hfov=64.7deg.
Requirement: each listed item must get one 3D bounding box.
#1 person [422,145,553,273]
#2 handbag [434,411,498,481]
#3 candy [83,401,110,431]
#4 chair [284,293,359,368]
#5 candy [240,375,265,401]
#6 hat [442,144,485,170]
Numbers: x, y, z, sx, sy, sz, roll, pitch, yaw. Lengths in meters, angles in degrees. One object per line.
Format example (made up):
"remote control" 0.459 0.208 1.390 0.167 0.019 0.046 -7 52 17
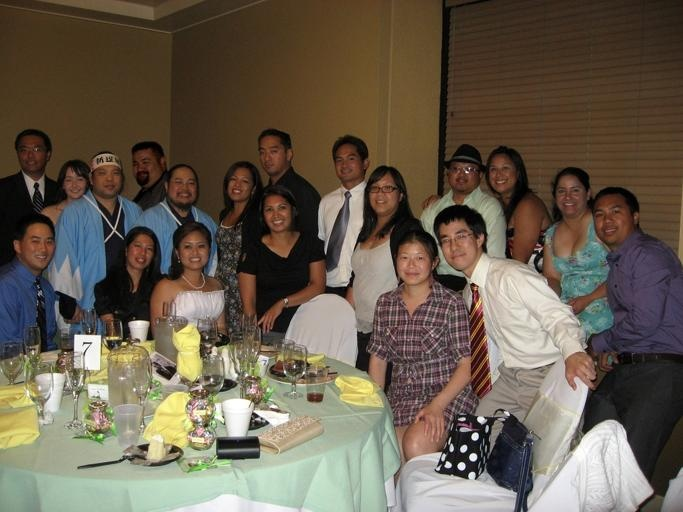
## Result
"person" 1.111 -0.337 4.357 0.929 1.399 0.831 -1 2 -17
"handbag" 0.560 0.861 2.491 0.236 0.244 0.156 18 5 37
"candy" -0.906 0.600 2.032 0.093 0.133 0.095 0 3 -16
"chair" -0.097 0.454 3.528 0.417 0.571 0.423 2 6 -3
"candy" -0.376 0.563 2.273 0.090 0.097 0.099 4 -11 -15
"hat" 0.962 -0.763 4.175 0.272 0.138 0.362 8 -21 16
